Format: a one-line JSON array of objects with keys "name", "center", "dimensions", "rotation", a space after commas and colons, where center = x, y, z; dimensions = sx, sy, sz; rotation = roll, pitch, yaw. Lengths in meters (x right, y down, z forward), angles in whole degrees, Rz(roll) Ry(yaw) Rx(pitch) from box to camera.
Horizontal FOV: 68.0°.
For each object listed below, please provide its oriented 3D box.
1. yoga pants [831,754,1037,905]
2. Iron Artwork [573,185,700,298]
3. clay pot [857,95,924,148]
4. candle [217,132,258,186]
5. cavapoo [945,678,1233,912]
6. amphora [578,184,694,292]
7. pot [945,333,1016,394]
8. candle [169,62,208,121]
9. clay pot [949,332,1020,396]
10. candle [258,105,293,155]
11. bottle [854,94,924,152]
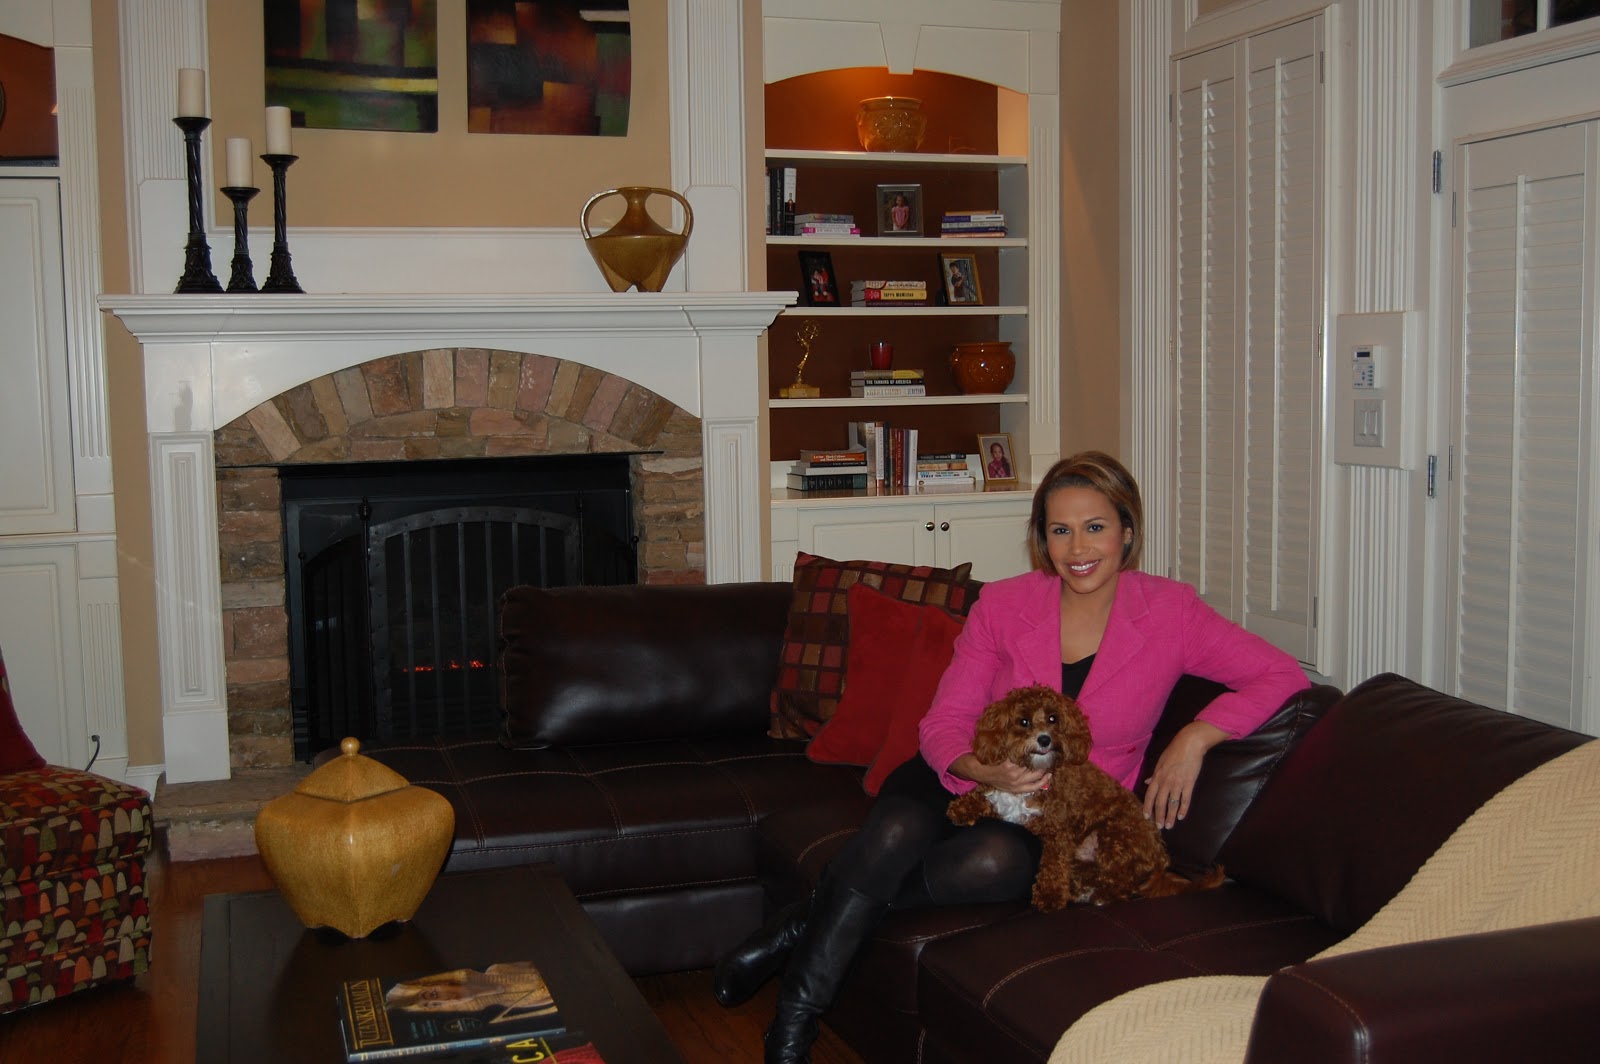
[{"name": "yoga pants", "center": [0.376, 0.790, 2.900], "dimensions": [0.593, 0.225, 0.771], "rotation": [-3, 6, 17]}, {"name": "Iron Artwork", "center": [-0.667, -1.175, 4.845], "dimensions": [0.479, 0.474, 0.371], "rotation": [1, 10, -17]}, {"name": "clay pot", "center": [0.415, -1.925, 5.604], "dimensions": [0.268, 0.192, 0.259], "rotation": [0, 2, 0]}, {"name": "candle", "center": [-2.134, -1.395, 4.504], "dimensions": [0.093, 0.186, 0.164], "rotation": [-6, 10, -24]}, {"name": "cavapoo", "center": [0.592, 0.627, 2.825], "dimensions": [0.620, 0.543, 0.375], "rotation": [-2, -6, -5]}, {"name": "amphora", "center": [-0.679, -1.222, 4.959], "dimensions": [0.490, 0.444, 0.369], "rotation": [-3, 10, -9]}, {"name": "pot", "center": [0.896, -0.800, 5.777], "dimensions": [0.284, 0.204, 0.261], "rotation": [0, 0, 0]}, {"name": "candle", "center": [-2.303, -1.657, 4.482], "dimensions": [0.104, 0.233, 0.343], "rotation": [-6, 10, -24]}, {"name": "clay pot", "center": [0.890, -0.803, 5.779], "dimensions": [0.293, 0.211, 0.269], "rotation": [0, 0, 0]}, {"name": "candle", "center": [-1.973, -1.514, 4.478], "dimensions": [0.082, 0.178, 0.059], "rotation": [-4, 10, -13]}, {"name": "bottle", "center": [0.415, -1.935, 5.601], "dimensions": [0.280, 0.200, 0.270], "rotation": [0, 2, 0]}]
